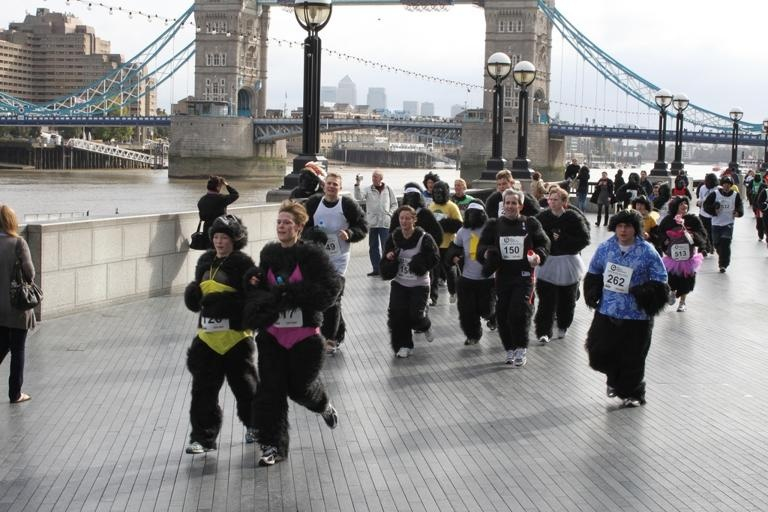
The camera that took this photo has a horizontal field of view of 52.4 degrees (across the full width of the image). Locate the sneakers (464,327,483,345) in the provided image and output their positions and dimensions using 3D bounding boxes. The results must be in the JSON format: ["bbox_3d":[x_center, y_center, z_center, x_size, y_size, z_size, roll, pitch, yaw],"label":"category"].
[{"bbox_3d":[1.185,1.043,10.498,0.281,0.269,0.189,0,9,-11],"label":"sneakers"}]

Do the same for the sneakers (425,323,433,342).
[{"bbox_3d":[0.599,1.055,10.509,0.085,0.122,0.273,-1,12,9],"label":"sneakers"}]

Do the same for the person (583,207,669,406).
[{"bbox_3d":[2.566,0.540,8.321,0.877,2.031,0.430,3,8,16],"label":"person"}]

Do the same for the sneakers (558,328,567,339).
[{"bbox_3d":[2.489,1.070,10.918,0.125,0.124,0.199,3,10,13],"label":"sneakers"}]

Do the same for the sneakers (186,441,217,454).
[{"bbox_3d":[-1.623,1.711,6.950,0.258,0.102,0.114,4,-17,-30],"label":"sneakers"}]

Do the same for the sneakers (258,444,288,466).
[{"bbox_3d":[-0.964,1.736,6.776,0.103,0.122,0.261,0,-11,26],"label":"sneakers"}]

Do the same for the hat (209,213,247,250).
[{"bbox_3d":[-1.409,-0.228,7.149,0.267,0.312,0.336,4,8,38],"label":"hat"}]

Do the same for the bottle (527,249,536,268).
[{"bbox_3d":[1.823,0.052,9.567,0.130,0.204,0.260,2,9,3],"label":"bottle"}]

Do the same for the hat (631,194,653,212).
[{"bbox_3d":[3.989,-0.787,12.067,0.254,0.310,0.339,0,-2,25],"label":"hat"}]

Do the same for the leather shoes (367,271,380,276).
[{"bbox_3d":[-0.199,0.358,15.424,0.287,0.134,0.117,1,2,1],"label":"leather shoes"}]

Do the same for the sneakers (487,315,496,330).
[{"bbox_3d":[1.546,0.930,11.224,0.181,0.283,0.098,0,11,10],"label":"sneakers"}]

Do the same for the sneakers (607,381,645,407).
[{"bbox_3d":[2.557,1.483,8.389,0.171,0.232,0.515,-4,0,-17],"label":"sneakers"}]

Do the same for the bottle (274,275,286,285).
[{"bbox_3d":[-0.907,0.211,6.837,0.081,0.089,0.058,7,-2,-37],"label":"bottle"}]

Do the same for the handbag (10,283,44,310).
[{"bbox_3d":[-3.637,0.414,7.932,0.286,0.281,0.205,-4,10,-32],"label":"handbag"}]

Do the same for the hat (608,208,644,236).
[{"bbox_3d":[2.596,-0.383,8.378,0.284,0.266,0.303,7,1,2],"label":"hat"}]

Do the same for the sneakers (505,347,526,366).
[{"bbox_3d":[1.632,1.212,9.639,0.250,0.216,0.313,3,9,8],"label":"sneakers"}]

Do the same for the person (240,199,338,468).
[{"bbox_3d":[-0.826,0.660,6.890,0.788,2.219,0.504,-2,8,-19],"label":"person"}]

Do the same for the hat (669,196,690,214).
[{"bbox_3d":[4.913,-0.844,13.038,0.301,0.321,0.493,4,10,19],"label":"hat"}]

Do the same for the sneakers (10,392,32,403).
[{"bbox_3d":[-3.670,1.440,7.912,0.138,0.060,0.076,-4,6,17],"label":"sneakers"}]
